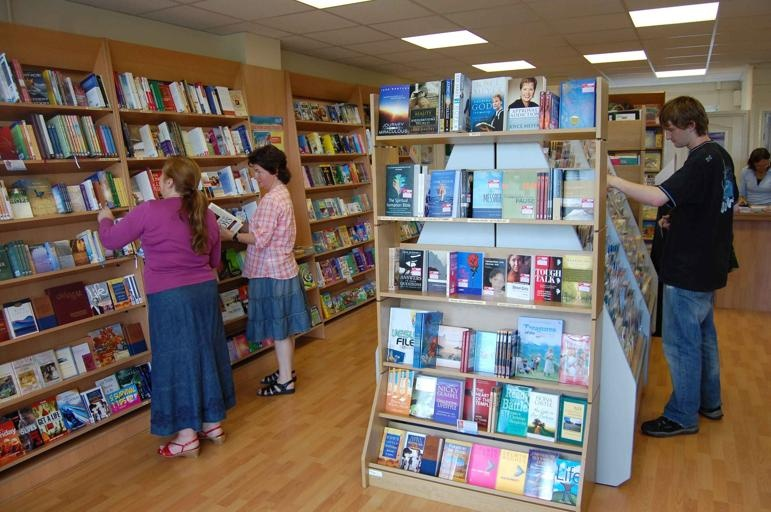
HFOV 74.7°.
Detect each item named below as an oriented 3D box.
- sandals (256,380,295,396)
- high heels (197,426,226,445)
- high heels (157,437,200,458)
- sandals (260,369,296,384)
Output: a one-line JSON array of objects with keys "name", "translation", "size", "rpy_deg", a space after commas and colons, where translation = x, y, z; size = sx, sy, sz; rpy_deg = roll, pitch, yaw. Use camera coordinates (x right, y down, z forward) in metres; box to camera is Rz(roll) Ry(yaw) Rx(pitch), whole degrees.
[{"name": "sandals", "translation": [-1.184, 1.417, 5.446], "size": [0.397, 0.142, 0.163], "rpy_deg": [2, 3, -4]}, {"name": "high heels", "translation": [-1.643, 1.643, 4.713], "size": [0.326, 0.138, 0.112], "rpy_deg": [5, 9, 28]}, {"name": "high heels", "translation": [-1.847, 1.728, 4.507], "size": [0.325, 0.126, 0.173], "rpy_deg": [3, -3, 6]}, {"name": "sandals", "translation": [-1.146, 1.340, 5.519], "size": [0.426, 0.156, 0.163], "rpy_deg": [2, 7, 4]}]
